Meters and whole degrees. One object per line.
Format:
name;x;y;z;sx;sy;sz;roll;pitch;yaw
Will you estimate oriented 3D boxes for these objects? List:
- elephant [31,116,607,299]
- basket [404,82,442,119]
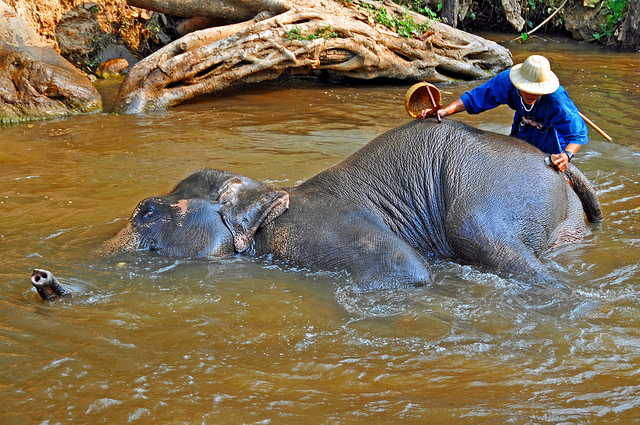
elephant;0.509;-0.103;8.112;4.261;1.410;1.466;4;27;4
basket;1.054;-1.165;8.611;0.357;0.392;0.249;4;29;3
